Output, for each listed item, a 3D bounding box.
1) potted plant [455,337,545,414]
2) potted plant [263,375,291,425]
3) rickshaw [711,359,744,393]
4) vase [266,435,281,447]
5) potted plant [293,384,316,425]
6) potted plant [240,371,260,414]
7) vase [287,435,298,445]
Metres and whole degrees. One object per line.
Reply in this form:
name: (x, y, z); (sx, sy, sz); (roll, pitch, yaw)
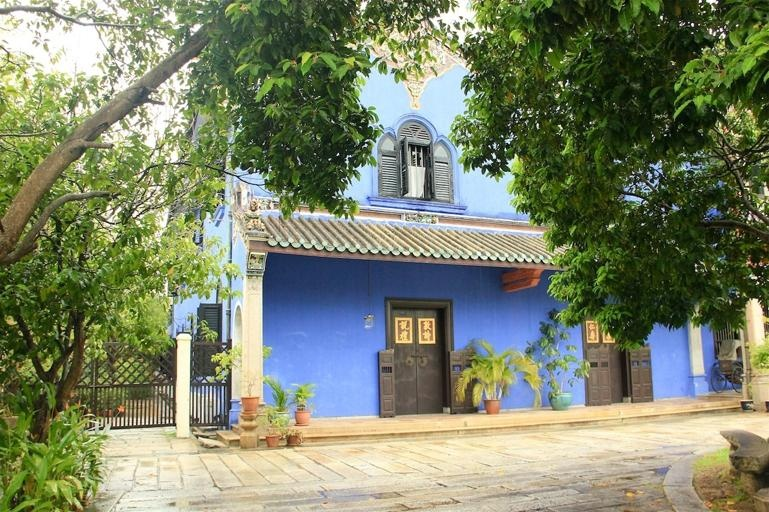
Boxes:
potted plant: (2.709, 2.815, 14.873); (2.261, 1.689, 0.794); (6, -13, -31)
potted plant: (-2.155, 2.851, 12.507); (0.499, 0.936, 1.696); (1, -13, -10)
rickshaw: (10.209, 3.541, 18.771); (0.877, 1.135, 1.229); (-6, -20, 34)
vase: (-2.064, 3.371, 11.489); (0.208, 0.166, 0.218); (0, -5, -5)
potted plant: (-1.640, 3.047, 12.891); (0.535, 0.814, 0.558); (-2, -12, 3)
potted plant: (-2.512, 2.562, 11.823); (0.344, 0.780, 0.453); (1, -12, -11)
vase: (-1.716, 3.424, 11.682); (0.157, 0.125, 0.165); (-1, -16, 6)
